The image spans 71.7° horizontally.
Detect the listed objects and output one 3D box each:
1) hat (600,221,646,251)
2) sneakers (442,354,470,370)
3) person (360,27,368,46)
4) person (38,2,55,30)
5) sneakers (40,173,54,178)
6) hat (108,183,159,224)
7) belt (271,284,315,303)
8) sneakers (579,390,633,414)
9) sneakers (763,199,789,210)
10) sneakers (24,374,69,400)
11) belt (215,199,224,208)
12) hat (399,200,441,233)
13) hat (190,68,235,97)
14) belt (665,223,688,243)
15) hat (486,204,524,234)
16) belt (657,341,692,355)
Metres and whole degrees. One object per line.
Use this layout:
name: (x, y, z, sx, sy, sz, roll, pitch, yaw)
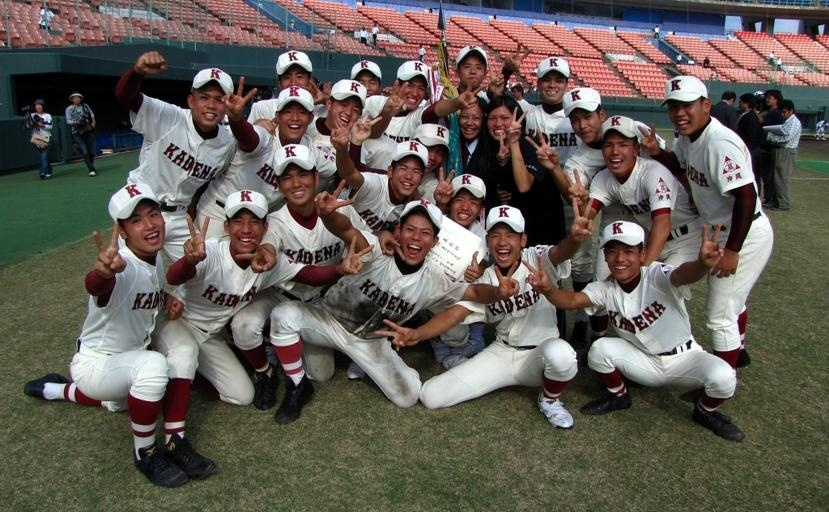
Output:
hat: (2.273, -0.222, 6.297, 0.429, 0.296, 0.283, 7, 25, 10)
sneakers: (0.500, 1.296, 7.171, 0.233, 0.091, 0.182, -11, 8, -34)
person: (-2.478, -10.850, 28.358, 0.392, 0.689, 0.894, 0, 25, -3)
person: (-11.627, -7.614, 18.203, 0.515, 0.821, 0.253, -14, 29, -30)
sneakers: (-9.565, -2.103, 14.992, 0.129, 0.105, 0.308, 2, 3, 0)
hat: (-2.868, -0.544, 5.900, 0.426, 0.415, 0.394, -14, 29, -30)
belt: (-1.402, 0.430, 6.759, 0.302, 0.108, 0.324, 3, 4, 15)
sneakers: (2.137, 1.643, 6.497, 0.661, 0.279, 0.226, -7, 18, 2)
sneakers: (8.270, -1.188, 13.116, 0.207, 0.231, 0.520, -9, 13, -38)
sneakers: (-4.064, 1.455, 6.371, 0.370, 0.130, 0.277, -1, 26, 5)
belt: (-2.436, -0.671, 7.240, 0.099, 0.028, 0.103, 35, -3, -7)
hat: (0.074, -0.458, 6.511, 0.445, 0.323, 0.716, 7, -1, -3)
hat: (-2.302, -2.031, 6.633, 0.437, 0.262, 0.389, 0, 25, -4)
belt: (3.309, -0.308, 7.241, 0.276, 0.100, 0.207, -31, -5, 21)
hat: (1.032, -0.413, 6.561, 0.409, 0.295, 0.247, 4, 25, 5)
belt: (2.895, 1.016, 6.311, 0.200, 0.048, 0.200, -23, -13, 7)
